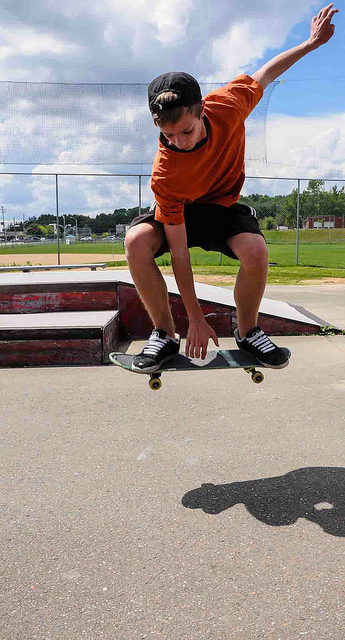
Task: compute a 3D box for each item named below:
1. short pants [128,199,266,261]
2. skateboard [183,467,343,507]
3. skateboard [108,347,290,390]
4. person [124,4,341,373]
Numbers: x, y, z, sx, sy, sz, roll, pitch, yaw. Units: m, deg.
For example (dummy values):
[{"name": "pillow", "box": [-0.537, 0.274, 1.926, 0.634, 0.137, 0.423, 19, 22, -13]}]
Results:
[{"name": "short pants", "box": [0.128, -0.460, 2.465, 0.636, 0.294, 0.395, -1, 7, 2]}, {"name": "skateboard", "box": [0.369, 0.672, 1.940, 0.539, 0.021, 0.224, -2, 5, -14]}, {"name": "skateboard", "box": [0.177, 0.298, 2.837, 0.994, 0.194, 0.287, -2, 12, -6]}, {"name": "person", "box": [0.228, -0.576, 2.277, 0.966, 1.568, 0.683, -3, 7, -17]}]
